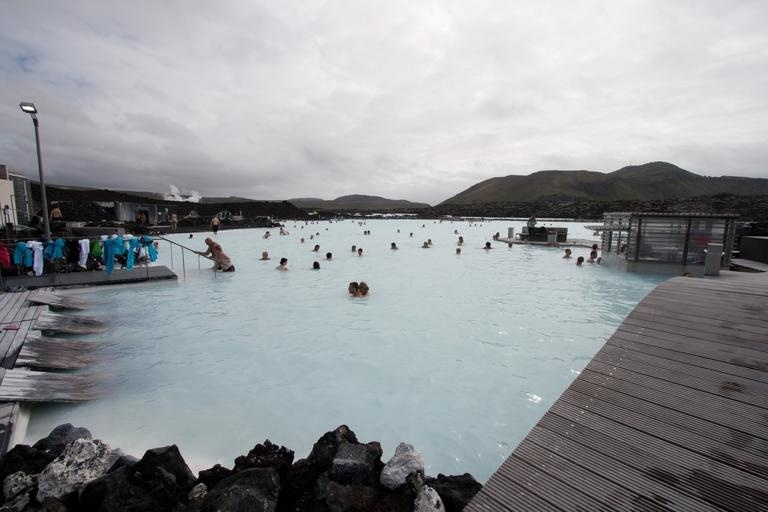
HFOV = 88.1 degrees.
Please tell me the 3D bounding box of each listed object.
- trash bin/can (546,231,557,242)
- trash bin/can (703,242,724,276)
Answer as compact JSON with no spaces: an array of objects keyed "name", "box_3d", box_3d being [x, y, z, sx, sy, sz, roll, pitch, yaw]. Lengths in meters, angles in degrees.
[{"name":"trash bin/can","box_3d":[13.824,-1.602,31.732,0.694,0.837,0.624,2,6,20]},{"name":"trash bin/can","box_3d":[10.728,0.145,12.881,0.539,0.979,0.545,2,7,-1]}]
